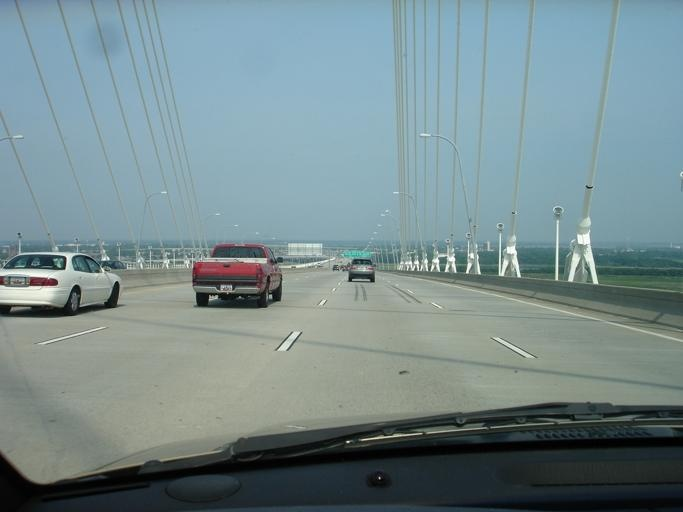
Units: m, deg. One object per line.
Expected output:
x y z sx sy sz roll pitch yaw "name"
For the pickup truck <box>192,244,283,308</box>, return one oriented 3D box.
-2.794 0.508 17.901 1.567 1.197 2.910 0 1 9 "pickup truck"
